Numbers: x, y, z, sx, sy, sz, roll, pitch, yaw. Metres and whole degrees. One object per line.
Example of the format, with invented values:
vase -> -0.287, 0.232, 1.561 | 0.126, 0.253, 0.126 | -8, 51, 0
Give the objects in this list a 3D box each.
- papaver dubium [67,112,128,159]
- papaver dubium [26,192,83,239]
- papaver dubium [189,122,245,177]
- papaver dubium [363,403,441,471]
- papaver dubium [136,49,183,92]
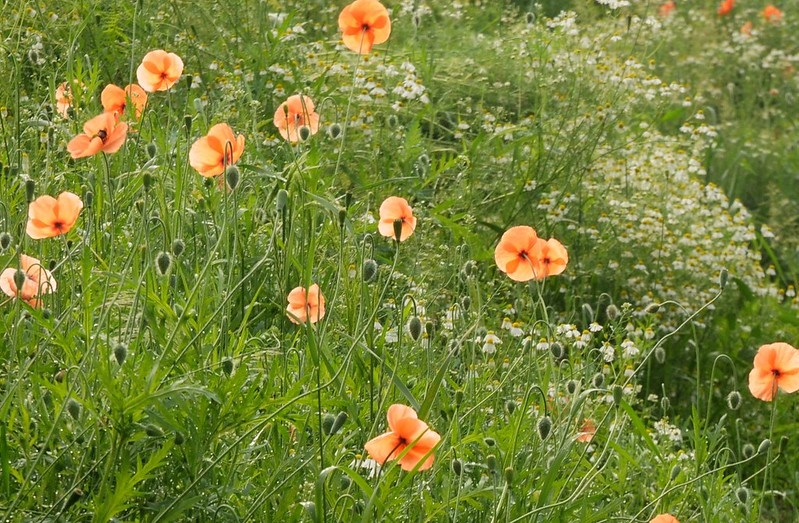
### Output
papaver dubium -> -1.090, -0.449, 3.771 | 0.164, 0.193, 0.186 | 3, 26, -36
papaver dubium -> -1.247, -0.162, 3.745 | 0.193, 0.202, 0.124 | 1, 26, -40
papaver dubium -> -0.654, -0.416, 3.877 | 0.187, 0.186, 0.098 | -23, -5, -1
papaver dubium -> 0.019, 0.599, 3.509 | 0.205, 0.245, 0.105 | 9, 7, -9
papaver dubium -> -0.943, -0.752, 4.139 | 0.154, 0.184, 0.109 | 11, 21, -21
